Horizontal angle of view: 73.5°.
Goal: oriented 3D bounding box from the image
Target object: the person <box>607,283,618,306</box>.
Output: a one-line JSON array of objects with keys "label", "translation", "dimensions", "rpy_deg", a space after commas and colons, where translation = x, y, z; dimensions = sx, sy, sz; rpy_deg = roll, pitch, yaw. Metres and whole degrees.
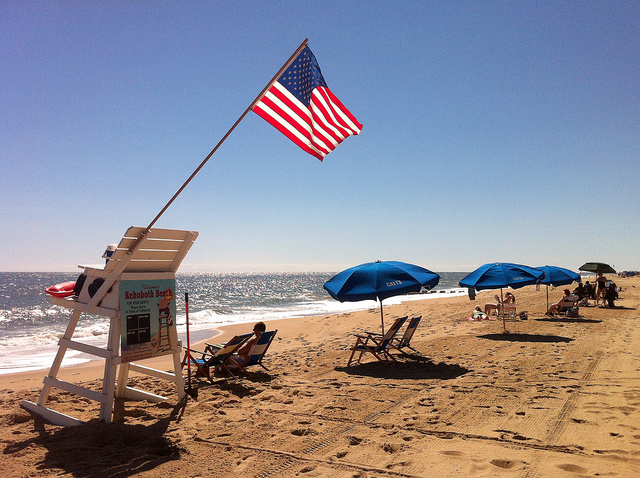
[{"label": "person", "translation": [14.099, 2.650, 20.692], "dimensions": [0.390, 1.028, 1.175], "rpy_deg": [-6, -7, 33]}]

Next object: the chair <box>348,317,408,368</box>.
[{"label": "chair", "translation": [1.304, 2.407, 10.030], "dimensions": [1.197, 0.923, 0.823], "rpy_deg": [-2, -11, 19]}]

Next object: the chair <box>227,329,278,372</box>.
[{"label": "chair", "translation": [-1.490, 2.437, 9.508], "dimensions": [0.685, 0.758, 0.916], "rpy_deg": [1, 7, -38]}]

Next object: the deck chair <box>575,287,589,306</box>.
[{"label": "deck chair", "translation": [12.852, 2.813, 20.993], "dimensions": [0.549, 0.866, 1.778], "rpy_deg": [-5, -6, 32]}]

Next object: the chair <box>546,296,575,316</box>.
[{"label": "chair", "translation": [9.700, 2.592, 16.995], "dimensions": [0.707, 0.894, 0.828], "rpy_deg": [10, 0, 0]}]

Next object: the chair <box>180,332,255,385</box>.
[{"label": "chair", "translation": [-2.237, 2.451, 8.963], "dimensions": [1.383, 0.773, 0.812], "rpy_deg": [0, -7, 17]}]

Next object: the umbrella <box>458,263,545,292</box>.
[{"label": "umbrella", "translation": [4.982, 1.039, 11.988], "dimensions": [2.070, 0.706, 1.155], "rpy_deg": [-2, -5, 9]}]

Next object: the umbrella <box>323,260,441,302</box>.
[{"label": "umbrella", "translation": [1.327, 0.914, 9.400], "dimensions": [2.390, 0.850, 1.106], "rpy_deg": [-2, -5, 2]}]

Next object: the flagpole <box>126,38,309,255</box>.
[{"label": "flagpole", "translation": [-1.257, -1.414, 6.651], "dimensions": [0.361, 5.145, 0.112], "rpy_deg": [42, -6, 31]}]

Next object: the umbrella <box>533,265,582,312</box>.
[{"label": "umbrella", "translation": [8.810, 1.791, 16.465], "dimensions": [1.937, 1.449, 1.847], "rpy_deg": [-10, 6, -40]}]

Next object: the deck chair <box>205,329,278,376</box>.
[{"label": "deck chair", "translation": [-1.754, 2.506, 9.763], "dimensions": [1.644, 0.973, 0.926], "rpy_deg": [-1, -10, 24]}]

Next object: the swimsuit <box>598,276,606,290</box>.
[{"label": "swimsuit", "translation": [13.706, 2.135, 20.832], "dimensions": [0.279, 0.618, 0.496], "rpy_deg": [-6, -7, 32]}]

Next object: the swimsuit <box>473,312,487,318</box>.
[{"label": "swimsuit", "translation": [6.484, 3.012, 17.322], "dimensions": [0.489, 0.158, 0.515], "rpy_deg": [-3, -5, 13]}]
